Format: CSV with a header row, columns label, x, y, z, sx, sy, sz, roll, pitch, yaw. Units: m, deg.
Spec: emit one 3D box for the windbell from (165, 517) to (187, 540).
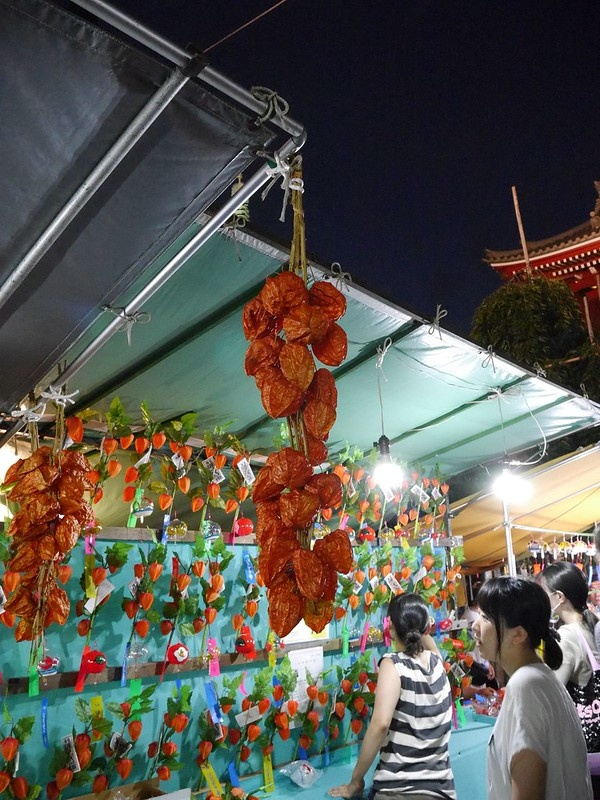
label,x,y,z,sx,sy,sz,roll,pitch,yaw
windbell,-0.591,0.620,2.637,0.098,0.094,0.109,1,-28,-3
